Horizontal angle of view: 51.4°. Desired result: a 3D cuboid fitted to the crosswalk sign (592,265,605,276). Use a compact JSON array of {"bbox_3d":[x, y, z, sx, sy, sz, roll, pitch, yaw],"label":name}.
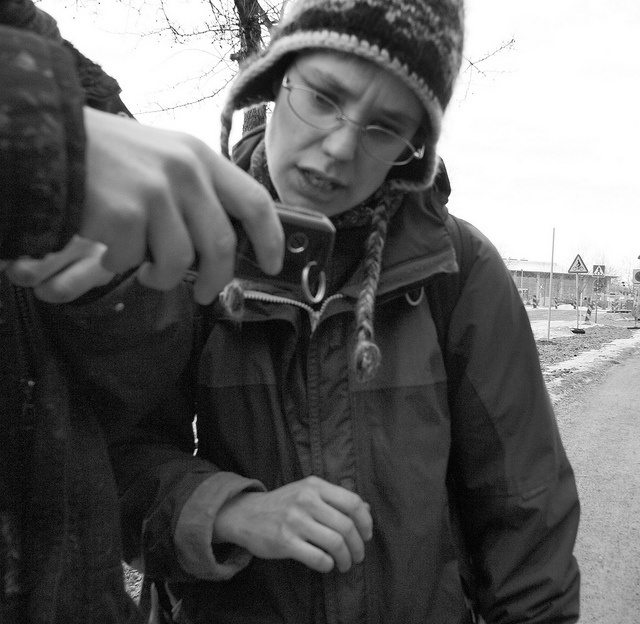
[{"bbox_3d":[8.170,-1.228,19.517,0.273,0.391,0.039,-3,-8,21],"label":"crosswalk sign"}]
